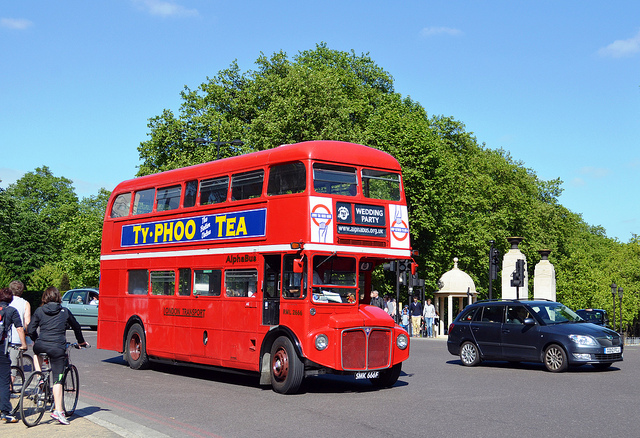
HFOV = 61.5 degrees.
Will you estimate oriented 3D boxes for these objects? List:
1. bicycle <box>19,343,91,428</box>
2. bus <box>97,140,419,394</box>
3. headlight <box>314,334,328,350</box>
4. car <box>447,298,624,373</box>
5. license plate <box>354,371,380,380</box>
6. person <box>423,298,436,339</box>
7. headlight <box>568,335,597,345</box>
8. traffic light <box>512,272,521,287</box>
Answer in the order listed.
[{"bbox_3d":[-4.697,2.976,9.232,0.677,0.860,1.386,1,0,21],"label":"bicycle"},{"bbox_3d":[-2.677,1.480,17.142,3.609,5.902,11.600,5,-8,-43],"label":"bus"},{"bbox_3d":[0.018,2.801,12.254,0.374,0.376,0.113,2,-3,-29],"label":"headlight"},{"bbox_3d":[7.456,4.035,19.046,2.666,2.196,5.871,5,-11,-31],"label":"car"},{"bbox_3d":[1.119,3.692,12.785,0.758,0.139,0.209,5,-3,-42],"label":"license plate"},{"bbox_3d":[7.070,6.398,34.881,0.686,2.510,1.555,2,-2,11],"label":"person"},{"bbox_3d":[8.269,3.803,16.970,0.513,0.205,0.336,-4,-19,30],"label":"headlight"},{"bbox_3d":[9.942,3.009,27.194,0.393,0.713,0.549,2,-2,19],"label":"traffic light"}]
